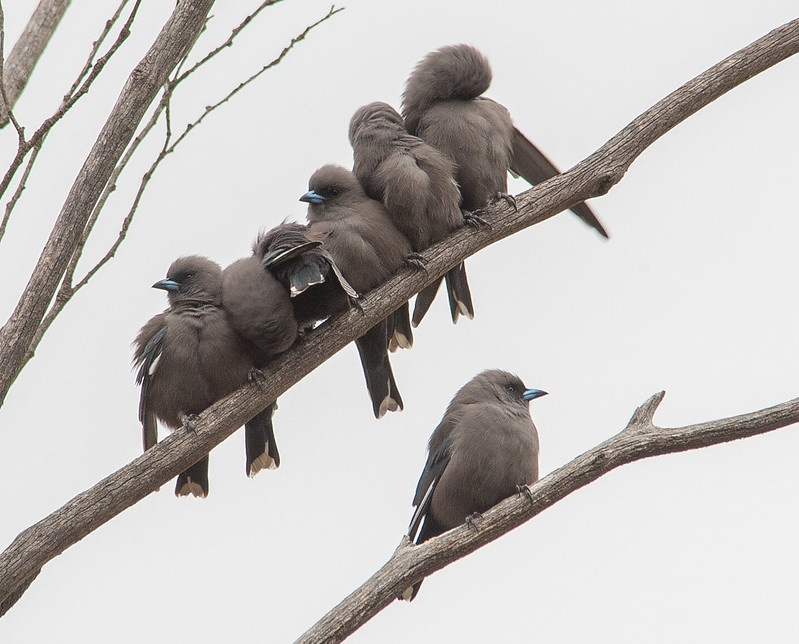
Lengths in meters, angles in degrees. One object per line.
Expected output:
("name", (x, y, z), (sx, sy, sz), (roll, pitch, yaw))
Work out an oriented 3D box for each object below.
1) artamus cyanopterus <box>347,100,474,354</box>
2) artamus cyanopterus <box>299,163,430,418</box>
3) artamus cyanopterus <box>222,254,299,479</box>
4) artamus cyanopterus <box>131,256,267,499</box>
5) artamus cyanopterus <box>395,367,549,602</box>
("artamus cyanopterus", (0.030, -0.528, 5.867), (0.426, 0.974, 0.719), (-25, -33, 3))
("artamus cyanopterus", (-0.158, -0.232, 5.911), (0.342, 1.189, 0.559), (2, -55, -25))
("artamus cyanopterus", (-0.632, 0.078, 5.589), (0.375, 1.023, 0.284), (-2, -3, -39))
("artamus cyanopterus", (-0.882, 0.212, 5.588), (0.445, 0.788, 0.826), (-9, -45, -16))
("artamus cyanopterus", (0.328, 0.756, 6.204), (0.887, 0.997, 0.533), (-20, -39, 33))
